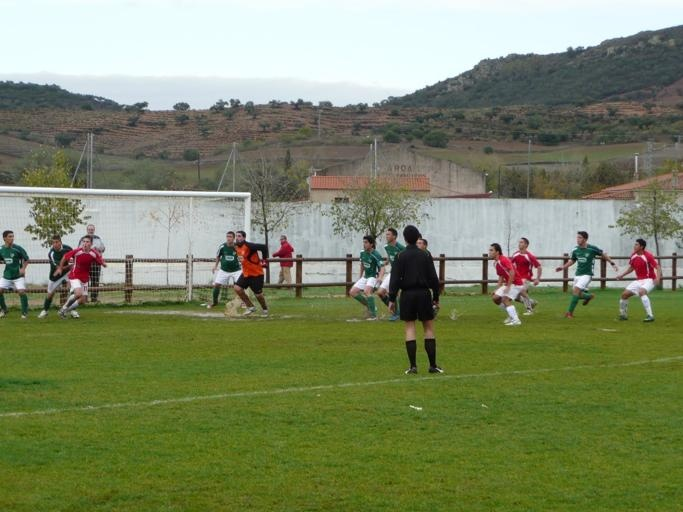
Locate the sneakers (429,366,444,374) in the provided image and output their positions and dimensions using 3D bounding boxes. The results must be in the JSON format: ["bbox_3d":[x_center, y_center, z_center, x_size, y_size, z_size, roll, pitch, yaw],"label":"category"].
[{"bbox_3d":[2.722,3.334,38.835,0.474,0.187,0.167,1,-2,-16],"label":"sneakers"}]

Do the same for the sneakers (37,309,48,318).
[{"bbox_3d":[-10.006,1.980,44.824,0.169,0.205,0.456,0,-2,3],"label":"sneakers"}]

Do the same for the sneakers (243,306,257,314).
[{"bbox_3d":[-3.195,1.897,45.294,0.251,0.187,0.538,7,-15,-25],"label":"sneakers"}]

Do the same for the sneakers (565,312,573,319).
[{"bbox_3d":[7.638,2.018,45.027,0.134,0.144,0.355,-1,-8,7],"label":"sneakers"}]

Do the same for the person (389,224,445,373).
[{"bbox_3d":[2.156,1.283,38.723,1.502,4.142,1.184,1,14,2],"label":"person"}]

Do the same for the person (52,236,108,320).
[{"bbox_3d":[-8.696,0.690,44.525,1.368,2.770,1.153,2,14,6],"label":"person"}]
